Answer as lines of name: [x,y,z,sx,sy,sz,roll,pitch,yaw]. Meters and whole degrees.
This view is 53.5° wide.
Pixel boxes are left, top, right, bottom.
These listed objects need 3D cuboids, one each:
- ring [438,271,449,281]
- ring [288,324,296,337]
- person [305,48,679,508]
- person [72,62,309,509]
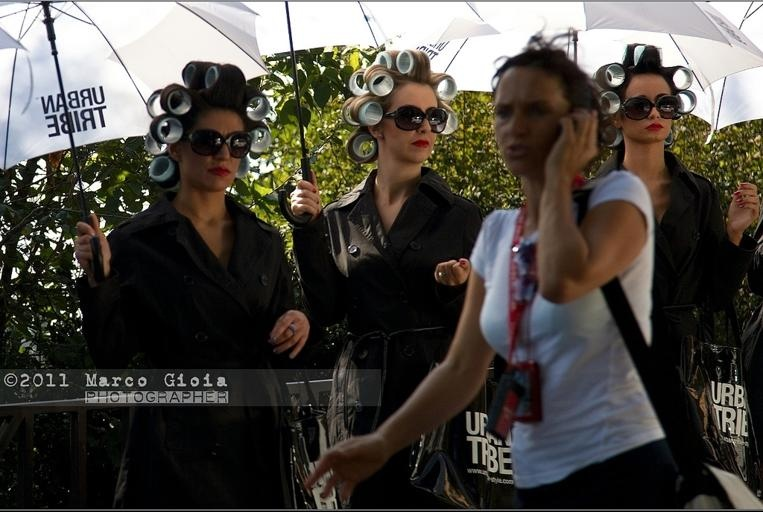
ring: [0.381,0.120,4.488,0.049,0.051,0.035,7,-3,-19]
ring: [-0.521,0.427,4.343,0.045,0.053,0.019,-7,-7,1]
person: [0.499,0.097,2.868,1.038,1.710,0.453,-6,-5,23]
person: [-1.065,0.147,4.330,1.253,2.629,0.385,-2,-5,-23]
